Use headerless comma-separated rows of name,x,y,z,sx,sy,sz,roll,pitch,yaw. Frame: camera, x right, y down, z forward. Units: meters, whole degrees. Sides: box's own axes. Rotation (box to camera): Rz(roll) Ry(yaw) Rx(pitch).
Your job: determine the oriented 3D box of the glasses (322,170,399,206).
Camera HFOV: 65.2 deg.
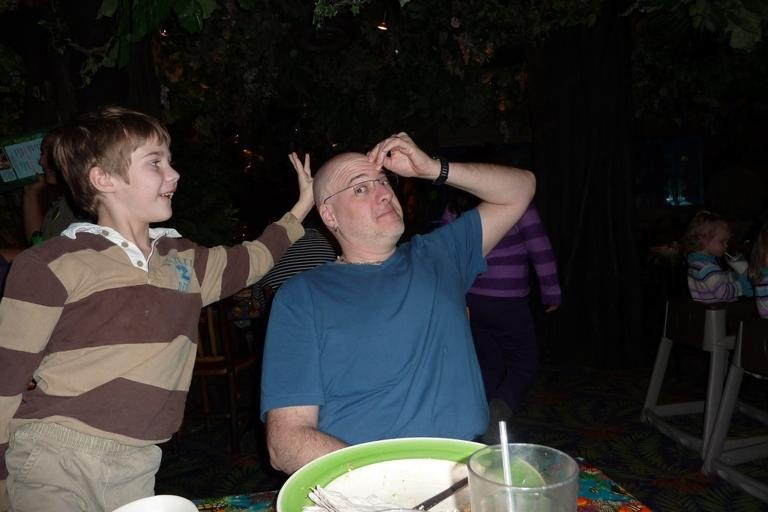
glasses,-0.132,-0.350,3.138,0.208,0.061,0.211,-24,-7,31
